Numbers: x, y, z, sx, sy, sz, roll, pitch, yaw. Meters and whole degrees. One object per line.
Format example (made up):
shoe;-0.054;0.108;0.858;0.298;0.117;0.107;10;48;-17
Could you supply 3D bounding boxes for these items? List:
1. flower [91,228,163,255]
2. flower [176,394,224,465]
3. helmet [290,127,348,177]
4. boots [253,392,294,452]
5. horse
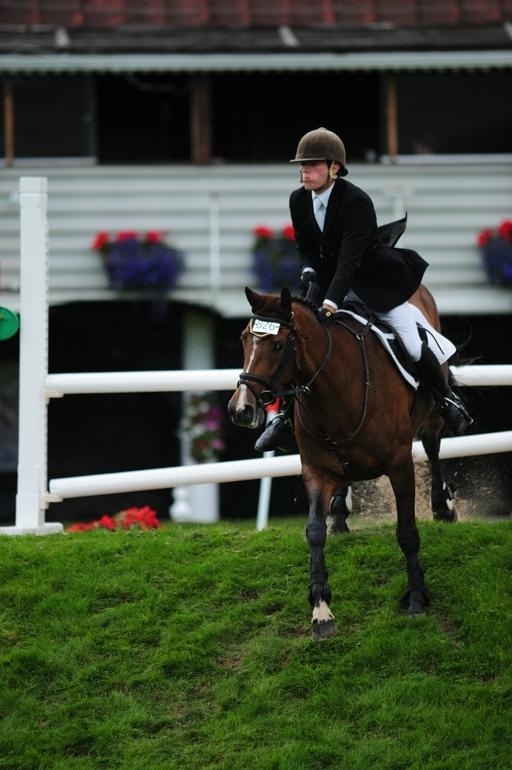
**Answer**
flower;-1.260;-1.515;12.568;0.760;0.234;0.293;-3;-24;-4
flower;-0.550;0.387;13.056;0.437;0.726;0.520;-2;4;-2
helmet;0.379;-1.409;7.425;0.337;0.206;0.235;7;-8;-44
boots;0.174;0.228;7.785;0.155;0.209;0.434;-3;11;31
horse;0.688;0.371;7.813;0.744;2.058;2.912;-5;4;22
